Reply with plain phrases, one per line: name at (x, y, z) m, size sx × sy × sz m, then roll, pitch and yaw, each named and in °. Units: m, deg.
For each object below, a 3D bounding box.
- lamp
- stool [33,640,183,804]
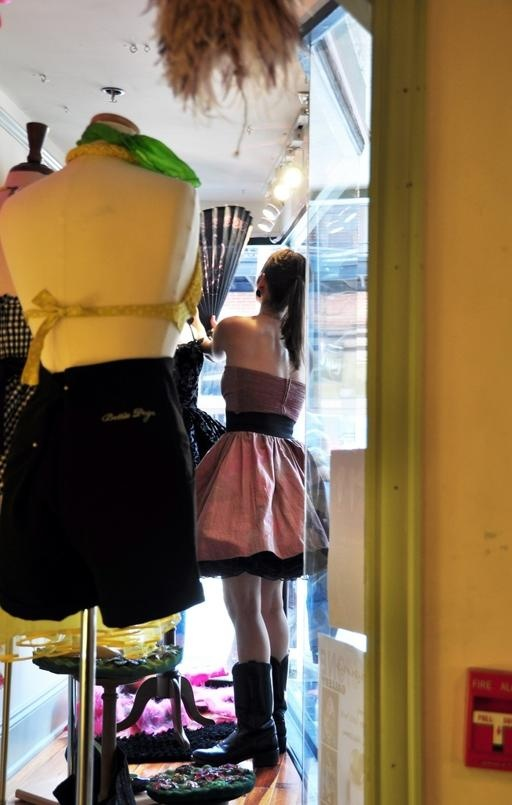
lamp at (0.122, -0.925, 2.840) m, size 0.141 × 0.572 × 0.197 m, roll 5°, pitch 58°, yaw -2°
stool at (-0.323, 0.639, 1.553) m, size 0.312 × 0.351 × 0.325 m, roll 0°, pitch 15°, yaw -13°
